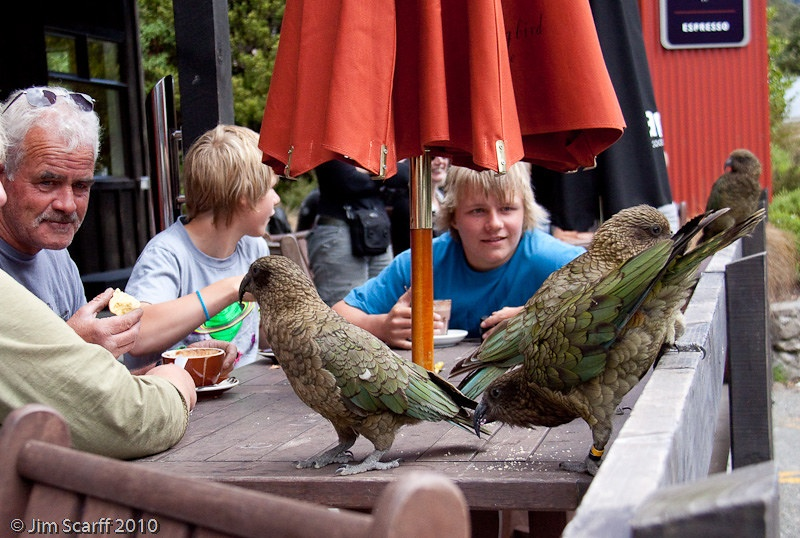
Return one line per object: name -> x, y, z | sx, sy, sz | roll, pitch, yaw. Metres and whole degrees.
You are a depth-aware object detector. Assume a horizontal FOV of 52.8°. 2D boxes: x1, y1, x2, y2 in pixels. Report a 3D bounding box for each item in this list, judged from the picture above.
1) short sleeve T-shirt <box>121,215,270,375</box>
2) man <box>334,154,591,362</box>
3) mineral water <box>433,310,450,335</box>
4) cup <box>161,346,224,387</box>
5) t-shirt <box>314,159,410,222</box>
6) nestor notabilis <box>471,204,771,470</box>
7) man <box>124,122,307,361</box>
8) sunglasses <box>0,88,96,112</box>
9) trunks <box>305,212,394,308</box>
short sleeve T-shirt -> -0.868, 0.113, 3.664 | 0.384, 0.591, 0.747 | 19, 20, 40
man -> 0.392, -0.090, 3.829 | 1.192, 0.840, 0.566 | 0, 6, -17
mineral water -> 0.163, 0.212, 3.265 | 0.074, 0.093, 0.085 | -1, -6, 1
cup -> -0.707, 0.343, 2.833 | 0.142, 0.097, 0.148 | 2, 10, 0
t-shirt -> -0.266, -0.569, 5.900 | 0.568, 0.532, 0.449 | -9, 9, -43
nestor notabilis -> 0.580, 0.233, 2.148 | 0.903, 0.497, 0.269 | -28, -9, 10
man -> -0.883, 0.079, 3.723 | 0.689, 1.493, 0.670 | -3, 19, -24
sunglasses -> -1.292, -0.636, 3.046 | 0.162, 0.080, 0.361 | 4, 8, 28
trunks -> -0.346, -0.058, 6.225 | 0.540, 1.045, 0.710 | 0, 1, 24
